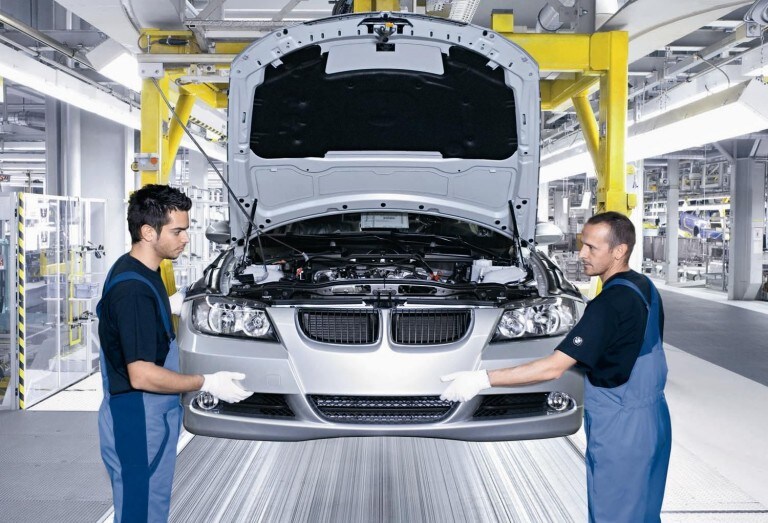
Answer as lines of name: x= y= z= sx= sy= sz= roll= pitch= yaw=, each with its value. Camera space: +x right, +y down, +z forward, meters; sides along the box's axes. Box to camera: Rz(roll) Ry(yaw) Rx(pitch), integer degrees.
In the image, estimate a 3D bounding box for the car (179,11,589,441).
car: x=0.003 y=-0.400 z=4.663 sx=3.076 sy=3.268 sz=1.703 roll=0 pitch=12 yaw=-2
